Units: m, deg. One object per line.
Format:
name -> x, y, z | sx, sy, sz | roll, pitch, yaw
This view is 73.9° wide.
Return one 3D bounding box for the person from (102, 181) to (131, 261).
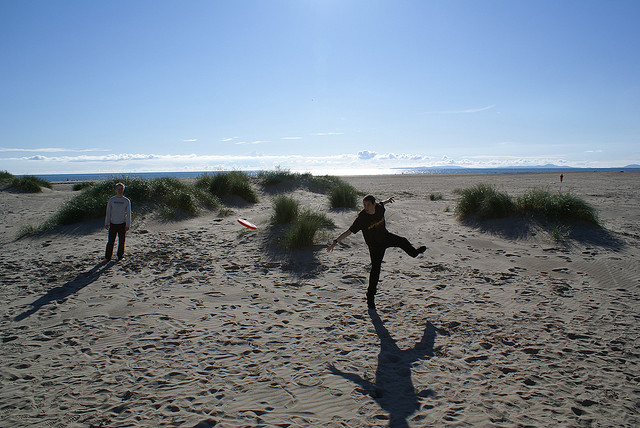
person -> -5.047, 0.156, 10.455 | 0.698, 1.803, 1.110 | -9, 11, -26
